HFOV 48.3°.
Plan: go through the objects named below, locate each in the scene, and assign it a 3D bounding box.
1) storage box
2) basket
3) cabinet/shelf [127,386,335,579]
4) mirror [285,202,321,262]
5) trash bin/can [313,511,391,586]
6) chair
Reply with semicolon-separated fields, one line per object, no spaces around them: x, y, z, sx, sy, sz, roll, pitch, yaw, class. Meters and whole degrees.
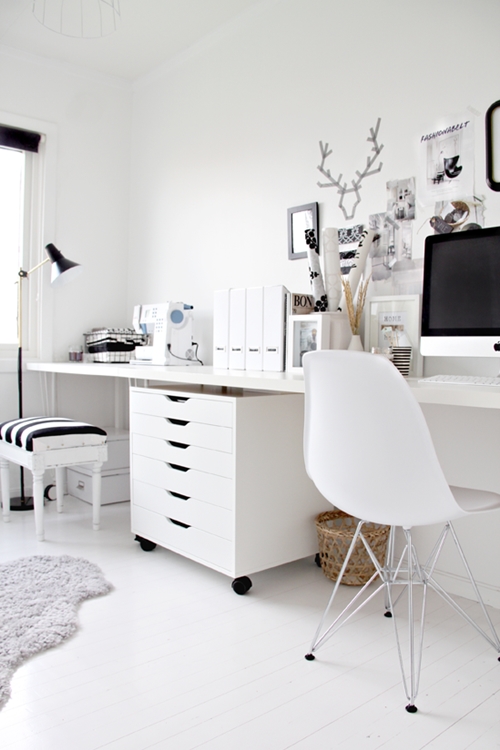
-0.827;0.488;2.995;0.297;0.482;0.445;0;1;-38;storage box
0.351;0.573;1.882;0.203;0.162;0.211;1;0;-29;basket
-0.103;0.360;2.086;0.614;0.624;0.474;3;4;41;cabinet/shelf
0.219;-0.584;2.267;0.036;0.221;0.191;1;-2;-36;mirror
0.331;0.579;1.905;0.255;0.206;0.272;-5;-19;26;trash bin/can
0.387;0.320;1.347;0.497;0.714;0.748;0;-2;10;chair
